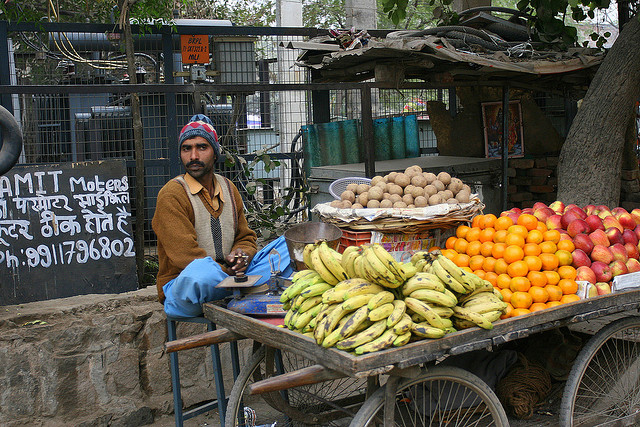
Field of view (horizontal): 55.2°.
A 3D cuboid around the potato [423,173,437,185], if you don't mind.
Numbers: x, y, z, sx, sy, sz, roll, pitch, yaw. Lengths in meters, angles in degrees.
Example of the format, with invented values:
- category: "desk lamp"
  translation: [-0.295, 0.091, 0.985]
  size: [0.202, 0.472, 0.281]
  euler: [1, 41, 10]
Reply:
- category: "potato"
  translation: [1.063, -0.318, 5.914]
  size: [0.105, 0.067, 0.124]
  euler: [8, -10, -38]

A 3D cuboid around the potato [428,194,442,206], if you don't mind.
- category: "potato"
  translation: [1.060, -0.115, 5.655]
  size: [0.101, 0.117, 0.099]
  euler: [-6, 7, -31]

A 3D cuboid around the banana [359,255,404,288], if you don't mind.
- category: "banana"
  translation: [0.438, 0.476, 4.562]
  size: [0.093, 0.285, 0.212]
  euler: [-47, 2, -32]

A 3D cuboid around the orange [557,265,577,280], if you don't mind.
- category: "orange"
  translation: [2.091, 0.502, 5.192]
  size: [0.126, 0.117, 0.118]
  euler: [-1, 1, 7]

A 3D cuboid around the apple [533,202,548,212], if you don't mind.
- category: "apple"
  translation: [2.042, -0.056, 5.725]
  size: [0.114, 0.133, 0.114]
  euler: [1, 3, 27]

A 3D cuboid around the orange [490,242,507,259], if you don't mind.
- category: "orange"
  translation: [1.525, 0.333, 5.304]
  size: [0.130, 0.124, 0.120]
  euler: [-2, -12, -7]

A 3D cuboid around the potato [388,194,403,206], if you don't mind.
- category: "potato"
  translation: [0.691, -0.109, 5.678]
  size: [0.091, 0.104, 0.093]
  euler: [2, 8, 43]

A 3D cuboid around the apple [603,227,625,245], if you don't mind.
- category: "apple"
  translation: [2.632, 0.215, 5.505]
  size: [0.099, 0.121, 0.099]
  euler: [-44, -16, 35]

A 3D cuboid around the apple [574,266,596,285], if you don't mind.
- category: "apple"
  translation: [2.263, 0.526, 5.226]
  size: [0.173, 0.154, 0.154]
  euler: [19, -7, 18]

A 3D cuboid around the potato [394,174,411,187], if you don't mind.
- category: "potato"
  translation: [0.794, -0.299, 5.875]
  size: [0.124, 0.062, 0.121]
  euler: [-8, 16, -22]

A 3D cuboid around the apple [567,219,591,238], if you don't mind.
- category: "apple"
  translation: [2.270, 0.141, 5.447]
  size: [0.165, 0.157, 0.170]
  euler: [-5, -1, -12]

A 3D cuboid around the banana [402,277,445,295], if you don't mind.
- category: "banana"
  translation: [0.763, 0.544, 4.551]
  size: [0.248, 0.068, 0.127]
  euler: [-2, 47, 4]

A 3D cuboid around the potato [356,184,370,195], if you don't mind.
- category: "potato"
  translation: [0.409, -0.218, 5.962]
  size: [0.103, 0.120, 0.101]
  euler: [-6, 2, -38]

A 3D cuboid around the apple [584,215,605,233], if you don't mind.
- category: "apple"
  translation: [2.473, 0.099, 5.602]
  size: [0.152, 0.147, 0.152]
  euler: [-43, -9, 2]

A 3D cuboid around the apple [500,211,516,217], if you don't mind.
- category: "apple"
  translation: [1.702, 0.012, 5.603]
  size: [0.069, 0.037, 0.065]
  euler: [-14, 10, -31]

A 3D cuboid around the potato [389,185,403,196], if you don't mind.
- category: "potato"
  translation: [0.718, -0.205, 5.837]
  size: [0.096, 0.090, 0.089]
  euler: [1, -9, 0]

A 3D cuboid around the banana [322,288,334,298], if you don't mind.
- category: "banana"
  translation: [0.067, 0.595, 4.590]
  size: [0.048, 0.019, 0.086]
  euler: [-16, 2, 32]

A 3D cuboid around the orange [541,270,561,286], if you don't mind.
- category: "orange"
  translation: [1.955, 0.546, 5.189]
  size: [0.115, 0.101, 0.107]
  euler: [2, -7, -9]

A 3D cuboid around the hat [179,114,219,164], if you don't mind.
- category: "hat"
  translation: [-1.182, -0.716, 5.946]
  size: [0.381, 0.449, 0.321]
  euler: [-3, 6, -13]

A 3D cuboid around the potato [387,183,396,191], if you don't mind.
- category: "potato"
  translation: [0.678, -0.243, 5.878]
  size: [0.056, 0.064, 0.054]
  euler: [-2, 5, -29]

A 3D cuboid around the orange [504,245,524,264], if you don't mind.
- category: "orange"
  translation: [1.643, 0.355, 5.219]
  size: [0.174, 0.134, 0.152]
  euler: [-13, -42, 7]

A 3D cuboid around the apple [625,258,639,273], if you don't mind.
- category: "apple"
  translation: [2.758, 0.465, 5.416]
  size: [0.117, 0.134, 0.113]
  euler: [0, 8, -10]

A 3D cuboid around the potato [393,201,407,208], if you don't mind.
- category: "potato"
  translation: [0.725, -0.070, 5.589]
  size: [0.125, 0.055, 0.076]
  euler: [-1, 6, 6]

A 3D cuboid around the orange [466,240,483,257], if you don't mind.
- category: "orange"
  translation: [1.354, 0.322, 5.392]
  size: [0.105, 0.103, 0.139]
  euler: [1, 14, 35]

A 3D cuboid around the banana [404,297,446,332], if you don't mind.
- category: "banana"
  translation: [0.744, 0.718, 4.548]
  size: [0.109, 0.132, 0.498]
  euler: [-4, 17, -38]

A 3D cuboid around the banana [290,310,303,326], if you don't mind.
- category: "banana"
  translation: [-0.198, 0.798, 4.672]
  size: [0.047, 0.038, 0.139]
  euler: [28, 62, 36]

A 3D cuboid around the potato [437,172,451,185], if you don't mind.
- category: "potato"
  translation: [1.205, -0.327, 6.014]
  size: [0.120, 0.121, 0.115]
  euler: [7, -14, -14]

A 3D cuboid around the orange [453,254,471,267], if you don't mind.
- category: "orange"
  translation: [1.237, 0.404, 5.367]
  size: [0.118, 0.088, 0.152]
  euler: [0, -2, 30]

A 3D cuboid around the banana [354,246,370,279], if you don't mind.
- category: "banana"
  translation: [0.299, 0.369, 4.600]
  size: [0.072, 0.253, 0.051]
  euler: [20, 8, 10]

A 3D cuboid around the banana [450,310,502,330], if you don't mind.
- category: "banana"
  translation: [1.153, 0.805, 4.612]
  size: [0.284, 0.058, 0.093]
  euler: [-11, 35, 0]

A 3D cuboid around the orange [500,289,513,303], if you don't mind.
- category: "orange"
  translation: [1.540, 0.692, 5.111]
  size: [0.111, 0.105, 0.103]
  euler: [1, -7, 6]

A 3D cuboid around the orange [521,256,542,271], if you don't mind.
- category: "orange"
  translation: [1.803, 0.428, 5.244]
  size: [0.145, 0.103, 0.107]
  euler: [12, -14, 1]

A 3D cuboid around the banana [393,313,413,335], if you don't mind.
- category: "banana"
  translation: [0.594, 0.797, 4.415]
  size: [0.085, 0.056, 0.153]
  euler: [22, 36, 19]

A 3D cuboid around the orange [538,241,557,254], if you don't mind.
- category: "orange"
  translation: [1.965, 0.303, 5.281]
  size: [0.128, 0.090, 0.092]
  euler: [4, -15, 16]

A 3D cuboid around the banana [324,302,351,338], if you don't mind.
- category: "banana"
  translation: [0.098, 0.774, 4.505]
  size: [0.117, 0.323, 0.083]
  euler: [34, -23, -4]

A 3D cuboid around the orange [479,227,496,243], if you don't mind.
- category: "orange"
  translation: [1.470, 0.201, 5.381]
  size: [0.125, 0.122, 0.122]
  euler: [0, 8, 10]

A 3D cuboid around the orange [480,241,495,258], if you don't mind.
- category: "orange"
  translation: [1.444, 0.320, 5.375]
  size: [0.125, 0.139, 0.123]
  euler: [5, -34, 9]

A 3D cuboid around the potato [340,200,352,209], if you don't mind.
- category: "potato"
  translation: [0.240, -0.069, 5.726]
  size: [0.089, 0.066, 0.067]
  euler: [1, 13, 21]

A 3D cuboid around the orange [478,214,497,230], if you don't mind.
- category: "orange"
  translation: [1.505, 0.086, 5.513]
  size: [0.137, 0.134, 0.128]
  euler: [-1, 4, 4]

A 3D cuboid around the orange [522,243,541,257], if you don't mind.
- category: "orange"
  translation: [1.816, 0.320, 5.252]
  size: [0.124, 0.088, 0.093]
  euler: [2, -19, 4]
